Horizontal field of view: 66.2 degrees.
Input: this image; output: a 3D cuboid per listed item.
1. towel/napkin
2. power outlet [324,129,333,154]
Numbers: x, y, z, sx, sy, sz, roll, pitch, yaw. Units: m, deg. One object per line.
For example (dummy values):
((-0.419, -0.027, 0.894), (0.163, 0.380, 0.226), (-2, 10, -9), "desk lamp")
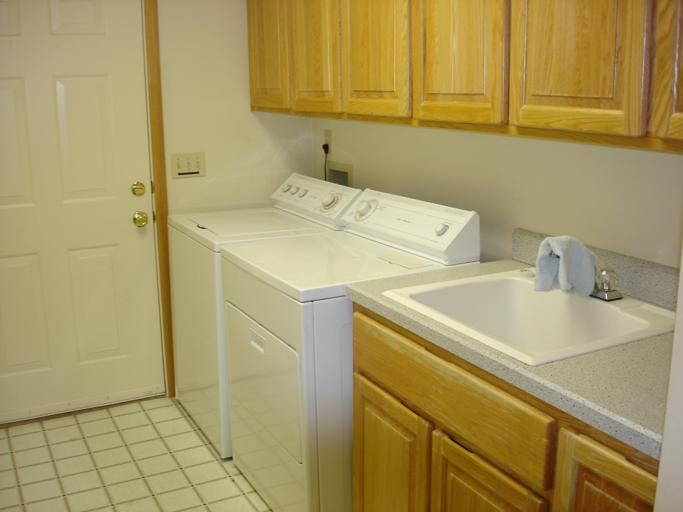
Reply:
((0.721, 0.039, 1.691), (0.160, 0.189, 0.114), (-9, 21, -25), "towel/napkin")
((-0.079, -0.695, 3.159), (0.019, 0.196, 0.112), (-6, 17, -24), "power outlet")
